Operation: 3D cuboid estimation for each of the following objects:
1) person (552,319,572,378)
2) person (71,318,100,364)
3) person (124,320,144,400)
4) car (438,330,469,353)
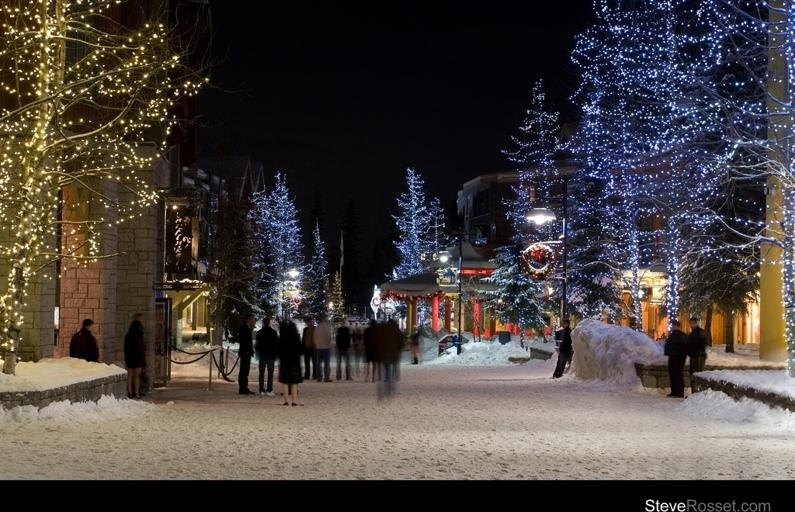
[{"bbox_3d":[7.084,3.934,33.158,0.794,2.464,1.393,-1,-4,10],"label":"person"},{"bbox_3d":[-9.212,2.444,22.907,0.756,1.215,0.838,1,-4,-22],"label":"person"},{"bbox_3d":[-8.020,3.037,23.734,0.565,2.495,0.870,1,-4,-15],"label":"person"},{"bbox_3d":[4.132,6.096,57.879,2.054,1.971,1.890,0,-11,0],"label":"car"}]
